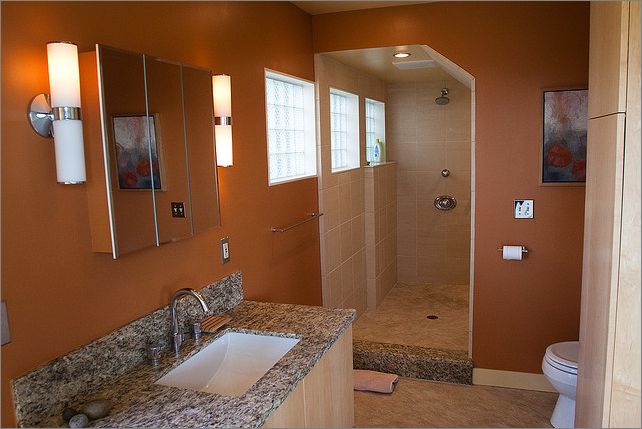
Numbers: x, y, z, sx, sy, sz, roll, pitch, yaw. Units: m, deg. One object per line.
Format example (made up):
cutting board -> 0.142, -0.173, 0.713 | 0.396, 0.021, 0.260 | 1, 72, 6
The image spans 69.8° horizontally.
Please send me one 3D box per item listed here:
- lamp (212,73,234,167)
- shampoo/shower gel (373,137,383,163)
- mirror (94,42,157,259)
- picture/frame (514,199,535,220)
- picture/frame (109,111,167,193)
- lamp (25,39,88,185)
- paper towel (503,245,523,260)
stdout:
lamp -> -0.592, -0.573, 2.857 | 0.133, 0.554, 0.131 | 1, 13, 0
shampoo/shower gel -> 0.719, -0.778, 5.673 | 0.107, 0.264, 0.202 | 3, 15, 17
mirror -> -0.947, -0.301, 2.213 | 0.114, 0.963, 0.389 | 6, 16, 26
picture/frame -> 1.643, -0.048, 3.693 | 0.154, 0.163, 0.016 | 3, 5, 22
picture/frame -> -0.900, -0.307, 2.233 | 0.036, 0.497, 0.411 | 0, 2, 29
lamp -> -1.153, -0.431, 2.015 | 0.224, 0.617, 0.155 | -8, 16, -26
paper towel -> 1.550, 0.307, 3.707 | 0.172, 0.122, 0.099 | 4, 11, 22
